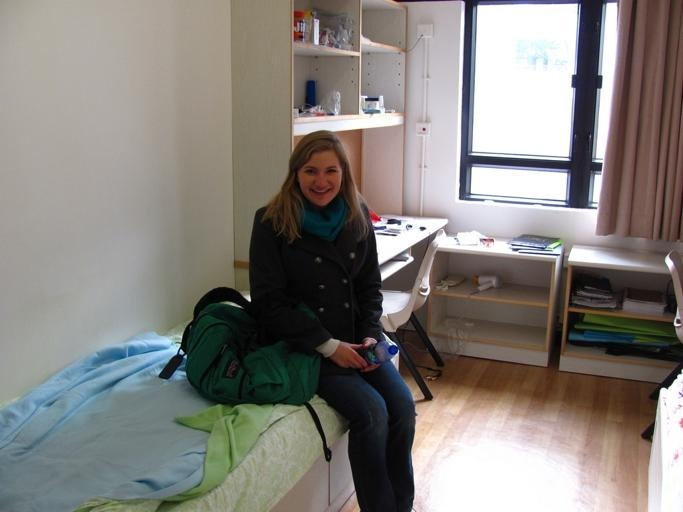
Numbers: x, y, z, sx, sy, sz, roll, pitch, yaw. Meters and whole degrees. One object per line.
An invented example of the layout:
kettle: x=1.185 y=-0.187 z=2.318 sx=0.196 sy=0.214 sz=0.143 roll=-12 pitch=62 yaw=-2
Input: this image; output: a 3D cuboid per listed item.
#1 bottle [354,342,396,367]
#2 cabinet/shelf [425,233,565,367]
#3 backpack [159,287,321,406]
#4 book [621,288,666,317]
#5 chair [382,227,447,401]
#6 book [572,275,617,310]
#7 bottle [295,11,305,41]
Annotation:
bottle: x=0.136 y=0.410 z=2.207 sx=0.054 sy=0.055 sz=0.166 roll=-26 pitch=7 yaw=-32
cabinet/shelf: x=1.156 y=0.344 z=4.004 sx=0.869 sy=0.894 sz=0.480 roll=7 pitch=12 yaw=26
backpack: x=-0.409 y=0.464 z=2.105 sx=0.457 sy=0.198 sz=0.487 roll=23 pitch=-15 yaw=25
book: x=2.061 y=0.298 z=3.572 sx=0.191 sy=0.071 sz=0.198 roll=5 pitch=12 yaw=30
chair: x=0.326 y=0.354 z=3.378 sx=0.612 sy=0.945 sz=0.508 roll=1 pitch=9 yaw=22
book: x=1.783 y=0.253 z=3.671 sx=0.294 sy=0.169 sz=0.225 roll=9 pitch=22 yaw=28
bottle: x=-0.232 y=-1.273 z=2.897 sx=0.064 sy=0.157 sz=0.159 roll=-2 pitch=19 yaw=-3
